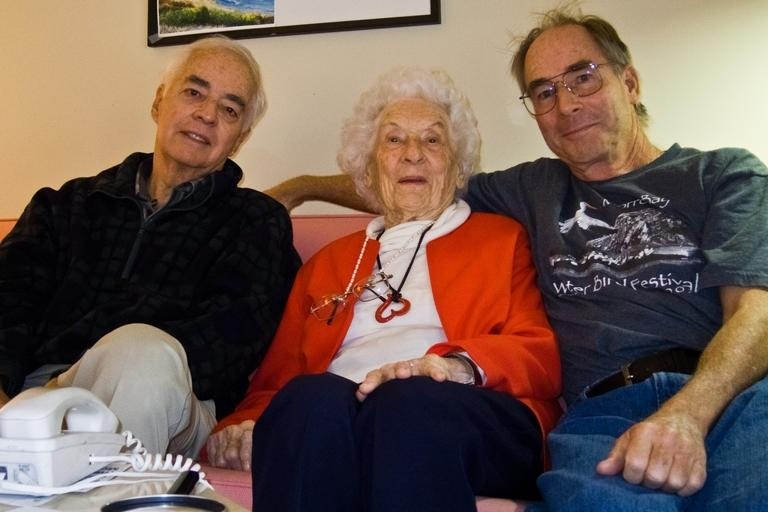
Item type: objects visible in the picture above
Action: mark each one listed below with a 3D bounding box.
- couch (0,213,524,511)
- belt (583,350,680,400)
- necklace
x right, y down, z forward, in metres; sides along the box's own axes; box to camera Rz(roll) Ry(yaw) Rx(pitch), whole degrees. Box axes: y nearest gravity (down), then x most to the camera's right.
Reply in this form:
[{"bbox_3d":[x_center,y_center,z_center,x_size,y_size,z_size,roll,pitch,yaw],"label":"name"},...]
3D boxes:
[{"bbox_3d":[-0.559,0.297,2.439,1.051,0.947,1.045,-1,-11,12],"label":"couch"},{"bbox_3d":[0.734,0.301,1.896,0.198,0.073,0.152,-30,1,20],"label":"belt"},{"bbox_3d":[0.062,0.071,2.219,0.265,0.066,0.458,-19,33,22],"label":"necklace"}]
